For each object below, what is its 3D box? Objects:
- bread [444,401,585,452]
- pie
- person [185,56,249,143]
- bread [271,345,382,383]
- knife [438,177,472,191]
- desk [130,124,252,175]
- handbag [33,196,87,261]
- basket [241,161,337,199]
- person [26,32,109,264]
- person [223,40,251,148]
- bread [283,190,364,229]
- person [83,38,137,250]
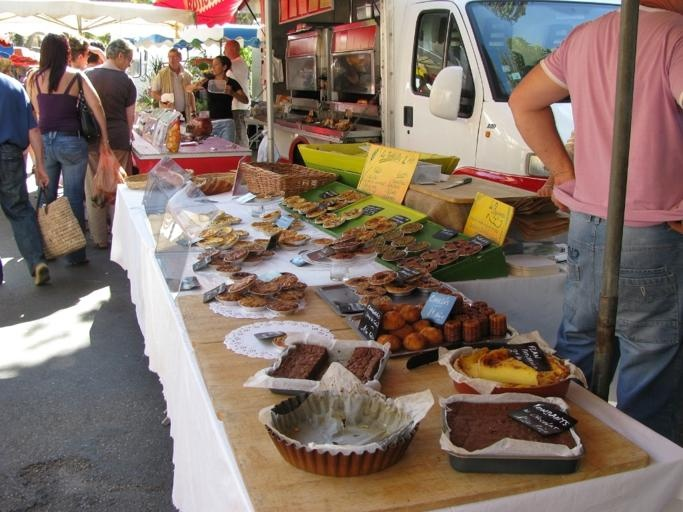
[{"bbox_3d":[0.432,0.441,1.325,0.315,0.036,0.186,0,17,-3],"label":"bread"},{"bbox_3d":[0.540,0.345,1.574,0.337,0.043,0.288,4,6,-24],"label":"pie"},{"bbox_3d":[-1.966,-2.591,8.560,0.906,1.453,0.928,-11,25,-42],"label":"person"},{"bbox_3d":[-0.040,0.351,1.608,0.289,0.064,0.310,-6,11,-40],"label":"bread"},{"bbox_3d":[0.739,-0.469,3.217,0.087,0.036,0.435,10,15,38],"label":"knife"},{"bbox_3d":[-1.941,-1.286,6.476,1.346,0.358,2.197,-5,18,-21],"label":"desk"},{"bbox_3d":[-3.115,-0.323,5.713,0.465,0.652,0.484,-3,23,-19],"label":"handbag"},{"bbox_3d":[-0.531,-0.726,4.276,0.902,0.321,0.966,-9,18,-32],"label":"basket"},{"bbox_3d":[-3.193,-1.244,6.164,0.985,2.642,0.783,-7,26,-32],"label":"person"},{"bbox_3d":[-2.115,-3.342,10.159,0.593,1.730,0.573,1,24,-4],"label":"person"},{"bbox_3d":[-0.072,-0.345,3.541,0.395,0.068,0.534,-20,30,-26],"label":"bread"},{"bbox_3d":[-2.966,-1.562,6.901,0.877,2.505,0.840,-10,25,-43],"label":"person"}]
